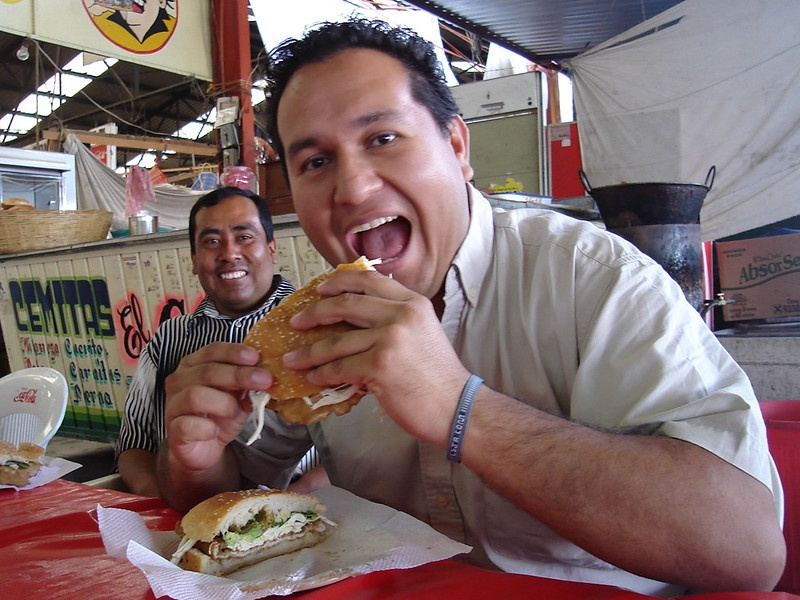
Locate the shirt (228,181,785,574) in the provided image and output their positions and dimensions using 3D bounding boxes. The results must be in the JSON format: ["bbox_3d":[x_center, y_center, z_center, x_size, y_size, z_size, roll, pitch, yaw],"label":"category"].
[{"bbox_3d":[0.283,0.199,2.165,1.839,0.916,0.817,0,-7,28],"label":"shirt"}]

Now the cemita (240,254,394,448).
[{"bbox_3d":[-0.320,0.151,1.829,0.337,0.461,0.345,-3,6,-13],"label":"cemita"}]

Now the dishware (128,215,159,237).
[{"bbox_3d":[-2.669,-0.768,5.991,0.338,0.155,0.293,-2,3,-17],"label":"dishware"}]

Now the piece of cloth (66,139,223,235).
[{"bbox_3d":[-5.093,-2.670,11.736,3.068,1.228,1.895,5,40,9],"label":"piece of cloth"}]

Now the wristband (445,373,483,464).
[{"bbox_3d":[0.166,0.334,1.635,0.060,0.186,0.201,17,-2,-4],"label":"wristband"}]
